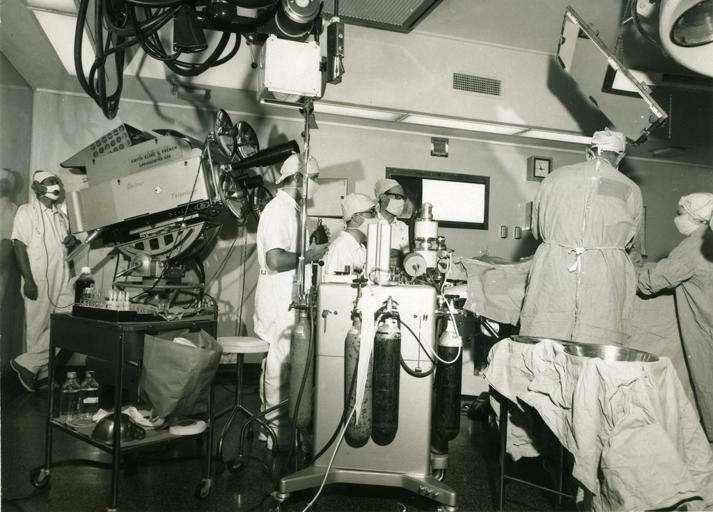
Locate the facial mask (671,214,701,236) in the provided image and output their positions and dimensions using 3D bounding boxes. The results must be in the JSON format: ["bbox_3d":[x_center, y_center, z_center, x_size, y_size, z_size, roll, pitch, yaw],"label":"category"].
[{"bbox_3d":[2.675,-0.255,5.997,0.165,0.103,0.136,6,2,0],"label":"facial mask"}]

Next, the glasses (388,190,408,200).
[{"bbox_3d":[0.375,-0.545,6.577,0.083,0.080,0.226,13,16,41],"label":"glasses"}]

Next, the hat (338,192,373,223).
[{"bbox_3d":[-0.026,-0.399,6.269,0.260,0.132,0.196,-20,37,34],"label":"hat"}]

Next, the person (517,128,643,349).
[{"bbox_3d":[1.673,-0.044,5.482,0.775,1.330,0.502,6,12,18],"label":"person"}]

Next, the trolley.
[{"bbox_3d":[-1.749,0.990,5.567,1.369,1.649,1.030,0,2,-44],"label":"trolley"}]

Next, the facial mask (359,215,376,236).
[{"bbox_3d":[0.071,-0.259,6.096,0.142,0.145,0.145,0,1,-39],"label":"facial mask"}]

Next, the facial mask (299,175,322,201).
[{"bbox_3d":[-0.351,-0.524,5.731,0.207,0.133,0.209,1,9,-1],"label":"facial mask"}]

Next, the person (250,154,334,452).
[{"bbox_3d":[-0.536,0.350,5.793,0.501,2.255,0.755,0,11,-8],"label":"person"}]

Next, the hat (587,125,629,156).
[{"bbox_3d":[1.910,-0.869,5.713,0.229,0.272,0.307,16,25,40],"label":"hat"}]

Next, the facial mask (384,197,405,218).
[{"bbox_3d":[0.339,-0.440,6.601,0.146,0.120,0.143,11,15,26],"label":"facial mask"}]

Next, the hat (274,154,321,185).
[{"bbox_3d":[-0.462,-0.660,5.842,0.299,0.248,0.226,-27,18,5],"label":"hat"}]

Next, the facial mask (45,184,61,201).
[{"bbox_3d":[-2.990,-0.636,7.316,0.108,0.129,0.143,0,4,-12],"label":"facial mask"}]

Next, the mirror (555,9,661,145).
[{"bbox_3d":[2.226,-1.647,6.768,0.664,1.198,1.183,-1,12,-14],"label":"mirror"}]
